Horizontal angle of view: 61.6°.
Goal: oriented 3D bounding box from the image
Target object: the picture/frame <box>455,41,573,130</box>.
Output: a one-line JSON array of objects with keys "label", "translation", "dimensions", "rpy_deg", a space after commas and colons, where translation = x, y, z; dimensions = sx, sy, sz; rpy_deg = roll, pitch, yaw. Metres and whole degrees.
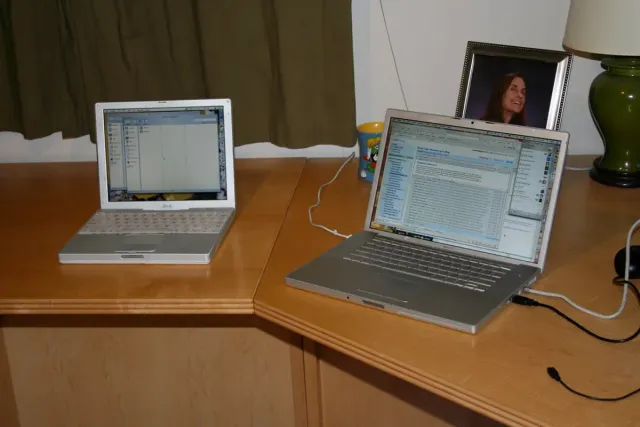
[{"label": "picture/frame", "translation": [0.597, -0.378, 1.691], "dimensions": [0.330, 0.318, 0.024], "rpy_deg": [13, 46, 19]}]

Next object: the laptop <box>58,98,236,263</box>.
[{"label": "laptop", "translation": [-0.483, -0.098, 1.487], "dimensions": [0.466, 0.348, 0.362], "rpy_deg": [-2, 24, 1]}]
